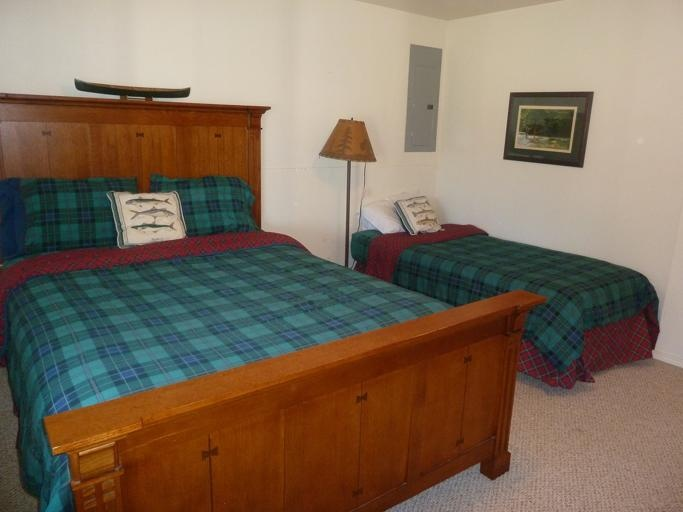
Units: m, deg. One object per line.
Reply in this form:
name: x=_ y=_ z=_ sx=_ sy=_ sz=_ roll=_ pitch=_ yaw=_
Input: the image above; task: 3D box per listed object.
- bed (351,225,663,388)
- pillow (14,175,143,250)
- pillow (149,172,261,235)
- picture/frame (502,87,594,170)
bed: x=1.170 y=0.186 z=3.875 sx=1.094 sy=0.575 sz=1.765 roll=-14 pitch=22 yaw=-36
pillow: x=-1.755 y=-0.271 z=3.130 sx=0.547 sy=0.489 sz=0.155 roll=-2 pitch=-11 yaw=-20
pillow: x=-0.940 y=-0.377 z=3.587 sx=0.603 sy=0.517 sz=0.160 roll=-6 pitch=-9 yaw=-42
picture/frame: x=1.824 y=-1.115 z=4.259 sx=0.054 sy=0.600 sz=0.709 roll=-7 pitch=23 yaw=-40
